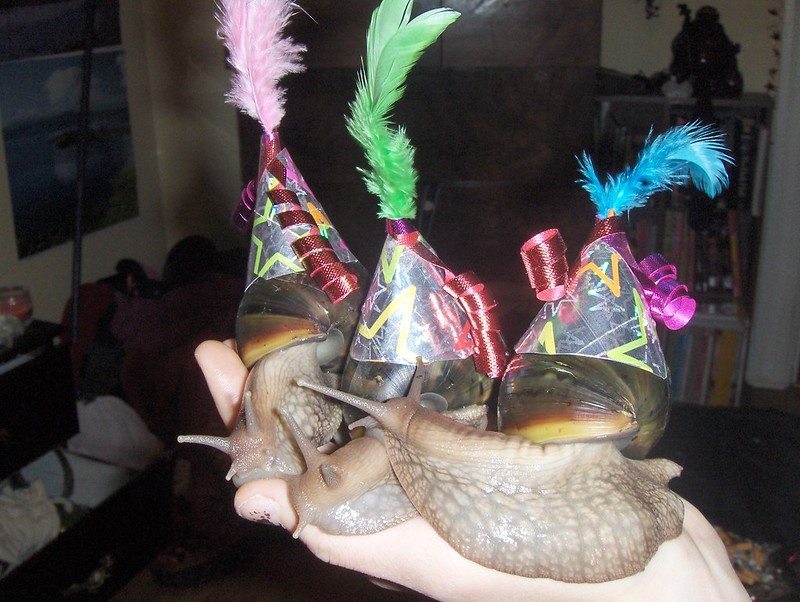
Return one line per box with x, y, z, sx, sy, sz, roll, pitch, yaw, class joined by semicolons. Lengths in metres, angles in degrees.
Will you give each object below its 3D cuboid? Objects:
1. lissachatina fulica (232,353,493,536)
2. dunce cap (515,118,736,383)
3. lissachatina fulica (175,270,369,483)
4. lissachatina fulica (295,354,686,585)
-0.040;0.202;0.927;0.193;0.140;0.350;20;11;33;lissachatina fulica
0.322;-0.076;0.930;0.319;0.350;0.145;-2;8;-30;dunce cap
-0.146;0.093;1.025;0.200;0.354;0.164;22;-16;11;lissachatina fulica
0.112;0.218;0.826;0.355;0.120;0.238;9;38;16;lissachatina fulica
